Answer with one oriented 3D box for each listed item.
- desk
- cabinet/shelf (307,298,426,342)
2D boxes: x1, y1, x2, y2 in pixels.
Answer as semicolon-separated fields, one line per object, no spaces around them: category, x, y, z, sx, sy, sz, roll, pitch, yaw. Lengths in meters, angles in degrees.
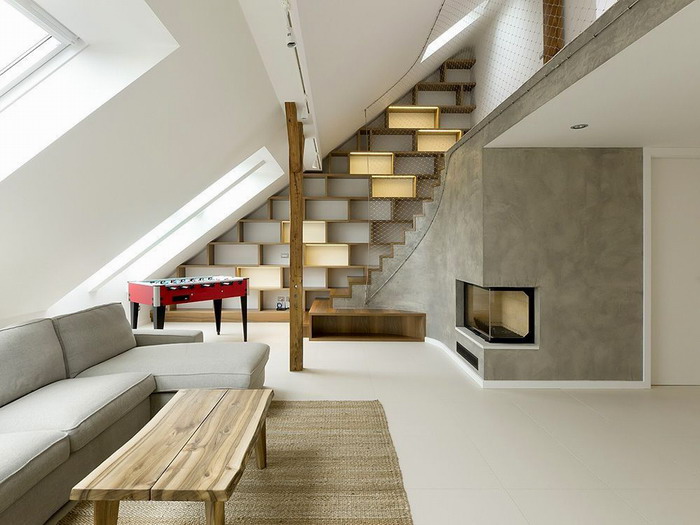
desk;-2.268;0.347;6.907;1.040;0.747;1.214;10;10;42
cabinet/shelf;0.254;0.778;7.361;1.604;0.465;0.665;0;8;6
